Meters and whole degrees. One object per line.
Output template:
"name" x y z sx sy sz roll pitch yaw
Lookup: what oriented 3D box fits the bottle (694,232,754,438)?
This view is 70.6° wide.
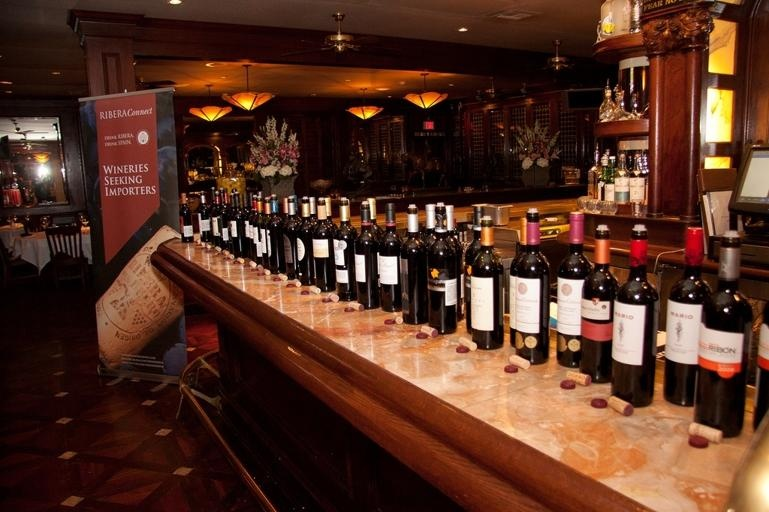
"bottle" 0.857 0.190 1.357 0.117 0.497 0.208 7 17 34

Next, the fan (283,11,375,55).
"fan" -0.498 -2.592 6.482 0.949 0.373 1.108 -14 17 -40

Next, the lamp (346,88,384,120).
"lamp" -0.410 -3.399 12.381 0.736 0.590 0.715 -1 8 -16

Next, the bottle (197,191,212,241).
"bottle" -1.338 -0.290 4.033 0.098 0.386 0.430 -7 14 -18

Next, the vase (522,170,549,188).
"vase" 2.261 -1.145 8.095 0.270 0.259 0.276 0 4 9

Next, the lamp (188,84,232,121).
"lamp" -3.577 -3.118 11.219 0.688 0.624 0.737 6 12 31

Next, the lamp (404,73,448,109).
"lamp" 0.795 -3.048 10.587 0.899 0.646 0.821 -2 5 -7

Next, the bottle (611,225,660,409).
"bottle" 0.685 0.153 1.471 0.116 0.485 0.220 4 15 26

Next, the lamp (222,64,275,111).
"lamp" -2.439 -2.960 9.708 0.928 0.805 0.903 -7 20 -16
